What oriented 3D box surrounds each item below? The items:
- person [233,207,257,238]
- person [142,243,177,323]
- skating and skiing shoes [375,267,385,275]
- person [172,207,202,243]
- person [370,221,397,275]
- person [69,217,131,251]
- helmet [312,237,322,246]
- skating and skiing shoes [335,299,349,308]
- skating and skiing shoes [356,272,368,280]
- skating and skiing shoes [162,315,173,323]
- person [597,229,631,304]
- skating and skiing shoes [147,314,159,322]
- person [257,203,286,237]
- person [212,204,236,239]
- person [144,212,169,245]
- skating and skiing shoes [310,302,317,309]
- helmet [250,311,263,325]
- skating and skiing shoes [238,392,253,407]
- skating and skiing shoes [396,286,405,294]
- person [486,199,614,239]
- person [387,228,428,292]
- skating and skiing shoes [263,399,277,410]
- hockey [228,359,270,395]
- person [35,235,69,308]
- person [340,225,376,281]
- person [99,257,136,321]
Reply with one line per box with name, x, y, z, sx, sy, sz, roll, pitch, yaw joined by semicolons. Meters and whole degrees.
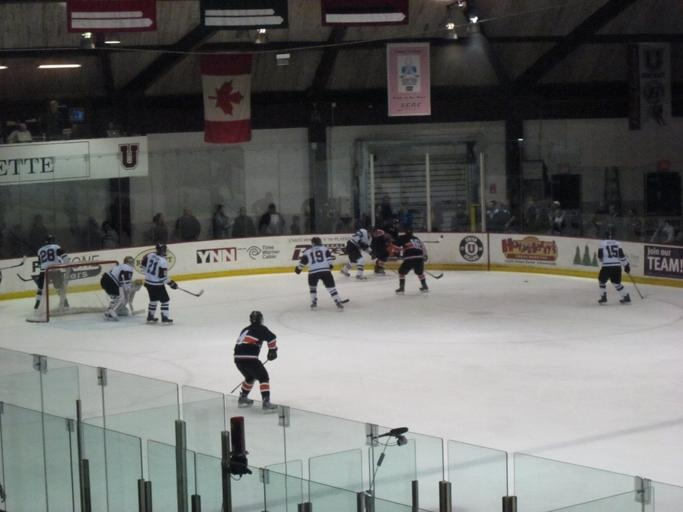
person;-2.576;-0.888;25.681;0.640;0.782;0.359;-1;0;-14
person;-3.706;0.574;19.618;0.647;1.614;1.128;-1;0;-12
skating and skiing shoes;0.974;0.403;24.822;0.295;0.216;0.104;-1;12;3
person;-3.960;-0.800;25.001;0.778;0.865;0.527;-1;0;-25
person;1.081;-0.237;24.699;0.469;1.380;0.330;7;29;6
person;-5.997;-0.527;23.573;1.284;0.818;0.365;-1;0;-44
helmet;-0.538;-0.301;20.429;0.177;0.146;0.175;-1;9;1
skating and skiing shoes;-0.041;1.008;20.441;0.179;0.236;0.230;4;4;45
skating and skiing shoes;0.485;0.525;24.320;0.110;0.156;0.334;0;-3;-16
skating and skiing shoes;-3.519;1.279;19.493;0.273;0.197;0.097;-1;5;-20
person;5.711;0.192;20.421;0.619;1.606;0.518;0;19;15
skating and skiing shoes;-3.833;1.270;19.697;0.197;0.199;0.096;-11;20;-40
person;-1.891;-0.592;25.935;0.624;1.611;0.470;0;-10;1
person;-3.159;-0.892;25.527;0.353;0.904;0.667;-1;0;36
person;-4.673;-0.677;24.543;0.537;0.827;0.325;-1;0;-13
skating and skiing shoes;-0.579;1.040;20.674;0.078;0.154;0.153;-9;19;-33
helmet;-1.305;0.920;14.638;0.156;0.210;0.202;4;19;6
skating and skiing shoes;-1.238;1.889;12.617;0.186;0.153;0.294;-1;0;2
skating and skiing shoes;1.315;0.776;22.122;0.095;0.197;0.191;-5;14;-36
person;5.215;-0.947;24.835;1.459;0.898;3.603;-1;0;-31
person;1.602;0.123;22.460;0.759;1.430;0.948;-1;0;3
skating and skiing shoes;-1.041;2.077;13.784;0.212;0.117;0.281;0;10;-13
hockey;-1.348;1.687;14.451;0.467;0.670;0.547;0;9;-29
person;-6.185;0.356;20.673;0.653;1.640;0.673;-1;0;-16
person;0.394;-0.068;24.965;0.544;0.473;1.314;-8;-31;-10
person;-4.597;0.678;19.952;0.658;1.322;0.518;-1;0;-1
